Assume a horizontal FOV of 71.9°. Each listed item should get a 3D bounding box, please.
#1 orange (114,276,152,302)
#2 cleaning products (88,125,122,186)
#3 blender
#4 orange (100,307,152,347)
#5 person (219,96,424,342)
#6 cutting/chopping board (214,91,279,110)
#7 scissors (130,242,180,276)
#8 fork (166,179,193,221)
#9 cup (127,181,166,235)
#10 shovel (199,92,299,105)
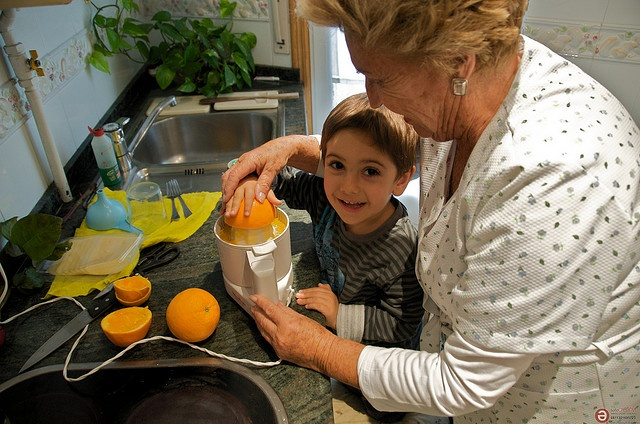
[{"bbox_3d":[-0.563,0.237,1.332,0.086,0.063,0.076,5,33,36],"label":"orange"},{"bbox_3d":[-0.900,-0.236,1.838,0.072,0.279,0.070,-19,40,-26],"label":"cleaning products"},{"bbox_3d":[-0.191,0.144,1.374,0.196,0.254,0.300,-7,38,-11],"label":"blender"},{"bbox_3d":[-0.553,0.340,1.275,0.132,0.083,0.127,-7,23,-10],"label":"orange"},{"bbox_3d":[0.051,0.100,1.595,0.668,1.004,0.579,9,17,18],"label":"person"},{"bbox_3d":[-0.385,-0.597,2.411,0.222,0.024,0.168,-1,31,4],"label":"cutting/chopping board"},{"bbox_3d":[-0.546,0.157,1.477,0.064,0.009,0.169,22,31,21],"label":"scissors"},{"bbox_3d":[-0.564,-0.073,1.725,0.073,0.035,0.246,-9,40,-7],"label":"fork"},{"bbox_3d":[-0.660,-0.025,1.672,0.127,0.113,0.221,-8,28,-25],"label":"cup"},{"bbox_3d":[-0.387,-0.622,2.438,0.403,0.022,0.053,-6,23,-2],"label":"shovel"}]
